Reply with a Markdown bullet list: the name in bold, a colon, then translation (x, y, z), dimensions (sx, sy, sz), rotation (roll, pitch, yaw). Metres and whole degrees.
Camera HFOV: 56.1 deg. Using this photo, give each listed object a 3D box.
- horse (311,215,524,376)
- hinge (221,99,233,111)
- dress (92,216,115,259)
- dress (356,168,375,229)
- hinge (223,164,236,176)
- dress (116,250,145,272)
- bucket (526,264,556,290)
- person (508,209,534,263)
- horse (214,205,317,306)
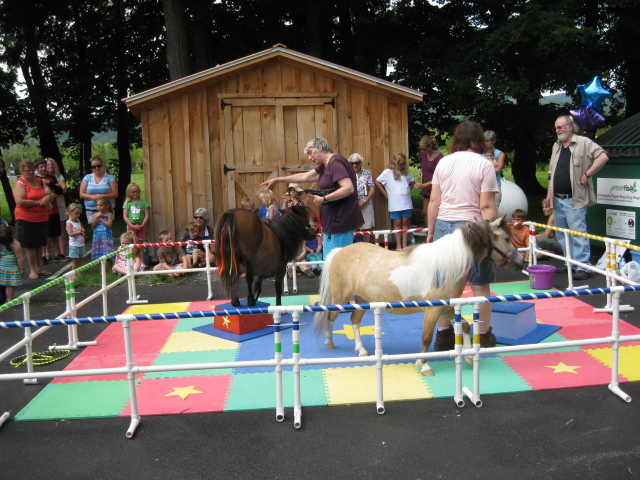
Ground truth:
- **horse**: translation (0.956, 0.627, 6.709), dimensions (2.385, 1.852, 0.686), rotation (1, 5, 30)
- **hinge**: translation (-1.935, -2.747, 12.243), dimensions (0.168, 0.177, 0.051), rotation (3, -3, -5)
- **dress**: translation (-4.148, -0.025, 11.425), dimensions (0.376, 0.788, 0.315), rotation (-8, 16, -22)
- **dress**: translation (0.919, -0.787, 12.308), dimensions (0.295, 1.286, 0.772), rotation (1, 15, 13)
- **hinge**: translation (-1.889, -1.446, 12.365), dimensions (0.215, 0.188, 0.045), rotation (-4, 15, -7)
- **dress**: translation (-3.627, 0.405, 11.350), dimensions (0.459, 0.262, 0.612), rotation (-1, 8, -19)
- **bucket**: translation (3.435, 0.567, 9.360), dimensions (0.369, 0.262, 0.351), rotation (-8, 4, 0)
- **person**: translation (3.573, -0.090, 10.989), dimensions (0.524, 0.867, 0.744), rotation (3, 30, 22)
- **horse**: translation (-0.826, 0.245, 8.451), dimensions (0.641, 1.374, 1.898), rotation (-5, -8, 29)
